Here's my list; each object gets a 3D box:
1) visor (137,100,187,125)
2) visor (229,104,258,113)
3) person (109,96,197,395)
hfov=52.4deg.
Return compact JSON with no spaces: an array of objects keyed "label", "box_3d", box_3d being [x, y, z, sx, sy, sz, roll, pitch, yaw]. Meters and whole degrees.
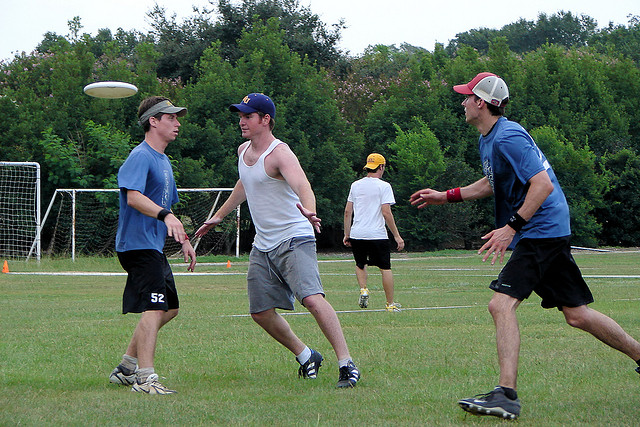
[{"label":"visor","box_3d":[-1.781,-1.123,7.377,0.441,0.147,0.291,-13,-2,4]},{"label":"visor","box_3d":[-0.859,-1.181,7.266,0.247,0.072,0.142,13,-1,-36]},{"label":"person","box_3d":[-1.833,0.243,7.061,0.912,3.265,1.034,-2,0,-8]}]
